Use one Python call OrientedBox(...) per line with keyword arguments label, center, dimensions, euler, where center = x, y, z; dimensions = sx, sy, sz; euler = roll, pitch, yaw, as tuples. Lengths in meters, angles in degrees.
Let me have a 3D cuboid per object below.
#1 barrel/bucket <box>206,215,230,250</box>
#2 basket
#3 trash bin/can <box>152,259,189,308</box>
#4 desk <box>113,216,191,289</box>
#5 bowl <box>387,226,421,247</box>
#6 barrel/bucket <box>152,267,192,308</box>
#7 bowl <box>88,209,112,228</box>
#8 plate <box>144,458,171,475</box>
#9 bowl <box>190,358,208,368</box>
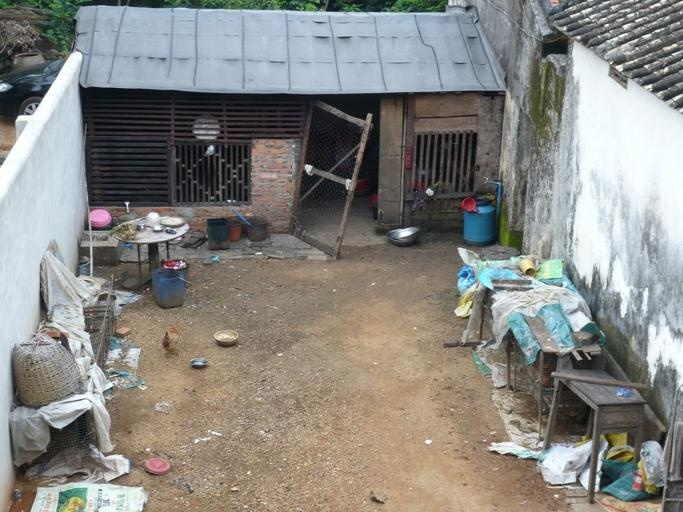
OrientedBox(label="barrel/bucket", center=(-2.493, -0.469, 14.868), dimensions=(0.709, 0.766, 0.632), euler=(-1, 12, -9))
OrientedBox(label="basket", center=(-3.530, 1.320, 8.541), dimensions=(0.810, 0.624, 0.741), euler=(-13, 18, -18))
OrientedBox(label="trash bin/can", center=(-3.035, 0.529, 12.180), dimensions=(0.857, 0.622, 0.611), euler=(-6, 15, -26))
OrientedBox(label="desk", center=(-3.768, -0.033, 13.069), dimensions=(1.674, 0.953, 1.484), euler=(-15, 6, -10))
OrientedBox(label="bowl", center=(1.341, -0.389, 15.147), dimensions=(0.578, 0.203, 0.479), euler=(3, 17, 5))
OrientedBox(label="barrel/bucket", center=(-3.012, 0.587, 12.213), dimensions=(0.600, 0.471, 0.552), euler=(2, 13, 0))
OrientedBox(label="bowl", center=(-4.936, -0.736, 14.444), dimensions=(0.411, 0.357, 0.605), euler=(-2, 10, -17))
OrientedBox(label="plate", center=(-2.229, 2.542, 8.516), dimensions=(0.307, 0.117, 0.288), euler=(-1, 10, -15))
OrientedBox(label="bowl", center=(-2.119, 1.613, 10.508), dimensions=(0.240, 0.096, 0.175), euler=(-1, 10, -13))
